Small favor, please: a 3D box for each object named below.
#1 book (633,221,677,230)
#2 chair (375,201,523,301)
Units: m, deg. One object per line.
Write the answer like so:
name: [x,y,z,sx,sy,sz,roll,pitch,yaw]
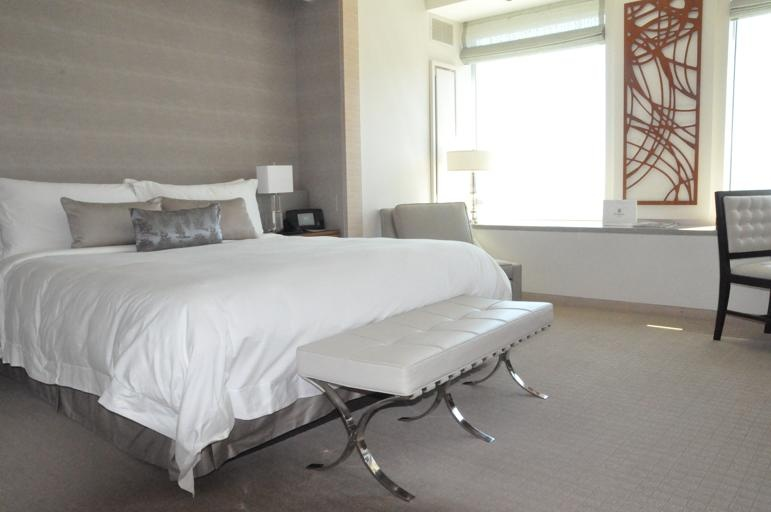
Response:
book: [2.661,-0.296,5.261,0.375,0.052,0.238,2,11,17]
chair: [0.733,-0.055,5.614,1.134,1.094,1.208,-3,1,-35]
